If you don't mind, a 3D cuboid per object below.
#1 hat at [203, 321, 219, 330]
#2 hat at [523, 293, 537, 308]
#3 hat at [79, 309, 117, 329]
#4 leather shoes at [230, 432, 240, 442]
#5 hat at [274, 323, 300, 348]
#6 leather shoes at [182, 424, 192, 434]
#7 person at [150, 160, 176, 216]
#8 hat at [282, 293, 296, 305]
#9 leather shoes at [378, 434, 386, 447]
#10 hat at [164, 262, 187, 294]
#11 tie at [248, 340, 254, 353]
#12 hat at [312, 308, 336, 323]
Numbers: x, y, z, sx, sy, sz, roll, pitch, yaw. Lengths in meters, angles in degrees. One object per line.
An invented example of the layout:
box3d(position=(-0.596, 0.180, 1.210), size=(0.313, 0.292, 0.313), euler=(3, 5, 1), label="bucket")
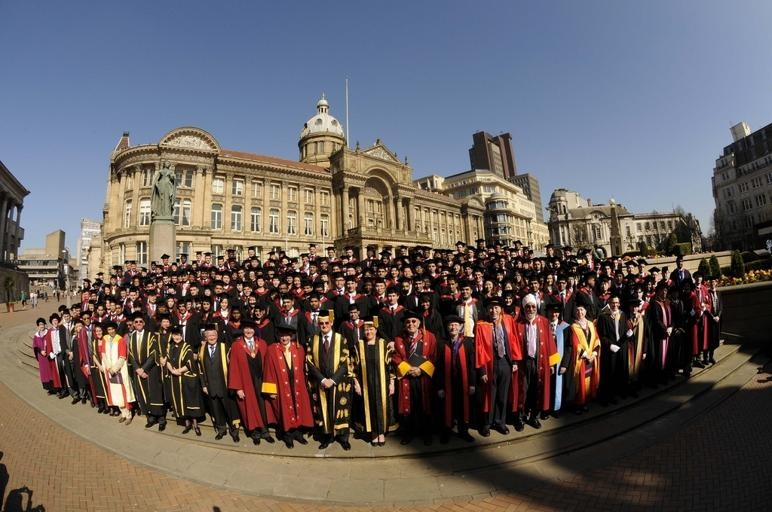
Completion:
box3d(position=(-5.118, 2.028, 13.456), size=(0.373, 0.238, 0.379), euler=(-3, -5, 14), label="hat")
box3d(position=(4.507, 1.392, 14.495), size=(0.392, 0.484, 0.490), euler=(1, -14, 0), label="hat")
box3d(position=(-9.516, 2.061, 15.324), size=(0.857, 0.459, 1.053), euler=(-2, -5, -45), label="hat")
box3d(position=(-4.203, 5.032, 12.990), size=(0.177, 0.310, 0.073), euler=(-6, -25, 8), label="leather shoes")
box3d(position=(-2.740, 2.224, 12.920), size=(0.539, 0.427, 0.566), euler=(5, -25, -1), label="hat")
box3d(position=(-5.822, 4.971, 13.516), size=(0.361, 0.235, 0.267), euler=(-4, -3, 31), label="leather shoes")
box3d(position=(-11.872, -3.482, 24.846), size=(0.904, 3.215, 1.255), euler=(-2, -3, 0), label="person")
box3d(position=(-2.961, 1.319, 14.176), size=(0.358, 0.430, 0.437), euler=(-2, -15, -5), label="hat")
box3d(position=(-0.114, 4.972, 12.609), size=(0.160, 0.291, 0.112), euler=(-2, -1, 2), label="leather shoes")
box3d(position=(-8.404, 0.909, 18.561), size=(0.693, 1.316, 0.694), euler=(-22, -22, 39), label="hat")
box3d(position=(-3.820, 2.530, 13.109), size=(0.169, 0.370, 0.094), euler=(-1, -3, -19), label="tie")
box3d(position=(-1.671, 1.646, 12.939), size=(0.576, 0.488, 0.703), euler=(1, -3, -23), label="hat")
